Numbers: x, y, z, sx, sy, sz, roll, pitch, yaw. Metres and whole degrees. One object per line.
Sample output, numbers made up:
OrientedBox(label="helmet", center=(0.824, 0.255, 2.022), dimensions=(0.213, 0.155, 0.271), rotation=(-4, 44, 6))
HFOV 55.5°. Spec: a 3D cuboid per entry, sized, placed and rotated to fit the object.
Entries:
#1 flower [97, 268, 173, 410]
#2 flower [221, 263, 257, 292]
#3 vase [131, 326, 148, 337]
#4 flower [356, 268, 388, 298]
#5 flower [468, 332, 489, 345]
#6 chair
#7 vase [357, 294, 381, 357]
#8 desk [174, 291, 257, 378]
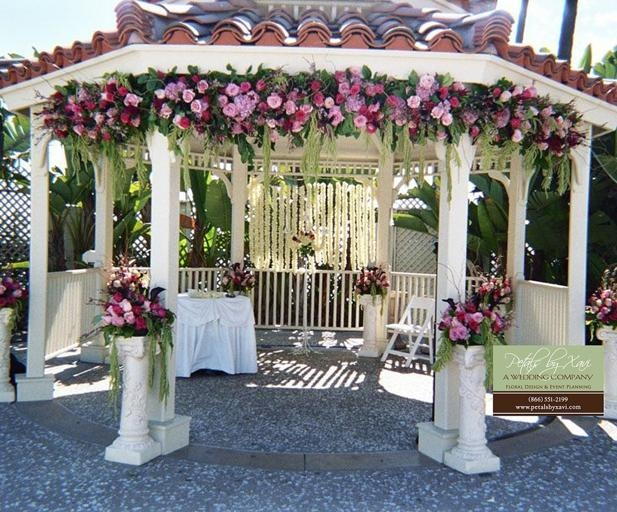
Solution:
OrientedBox(label="flower", center=(-1.360, 0.691, 4.579), dimensions=(0.492, 1.076, 0.599), rotation=(-3, -6, 10))
OrientedBox(label="flower", center=(-0.888, 0.305, 7.660), dimensions=(0.357, 0.401, 0.379), rotation=(0, -4, 27))
OrientedBox(label="vase", center=(-1.271, 0.582, 4.446), dimensions=(0.081, 0.088, 0.082), rotation=(-7, -13, 40))
OrientedBox(label="flower", center=(0.853, 0.309, 7.769), dimensions=(0.348, 0.416, 0.345), rotation=(13, 7, 12))
OrientedBox(label="flower", center=(1.279, 0.631, 4.408), dimensions=(0.116, 0.106, 0.076), rotation=(0, 4, -13))
OrientedBox(label="chair", center=(1.318, 0.937, 7.525), dimensions=(0.572, 0.859, 0.640), rotation=(4, 3, 33))
OrientedBox(label="vase", center=(0.841, 0.911, 7.917), dimensions=(0.301, 0.836, 0.435), rotation=(2, 4, 8))
OrientedBox(label="desk", center=(-1.207, 0.819, 7.051), dimensions=(0.981, 0.955, 0.959), rotation=(5, 15, -16))
